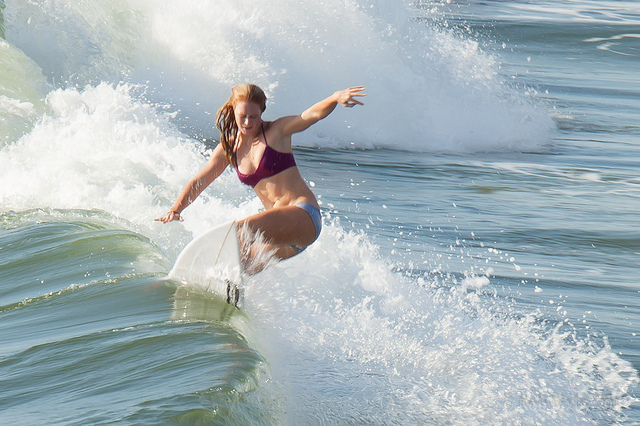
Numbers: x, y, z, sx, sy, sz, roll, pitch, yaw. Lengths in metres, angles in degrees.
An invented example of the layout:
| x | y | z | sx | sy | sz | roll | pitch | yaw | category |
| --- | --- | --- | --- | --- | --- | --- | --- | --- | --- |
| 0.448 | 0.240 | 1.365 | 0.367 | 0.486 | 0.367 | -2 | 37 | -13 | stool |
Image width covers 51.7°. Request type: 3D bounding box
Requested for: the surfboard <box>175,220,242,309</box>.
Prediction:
| x | y | z | sx | sy | sz | roll | pitch | yaw | category |
| --- | --- | --- | --- | --- | --- | --- | --- | --- | --- |
| -1.113 | 0.442 | 7.147 | 0.558 | 1.781 | 0.126 | 20 | -74 | -7 | surfboard |

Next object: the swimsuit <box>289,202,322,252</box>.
| x | y | z | sx | sy | sz | roll | pitch | yaw | category |
| --- | --- | --- | --- | --- | --- | --- | --- | --- | --- |
| -0.101 | 0.159 | 7.259 | 0.254 | 0.454 | 0.528 | 5 | 17 | -21 | swimsuit |
